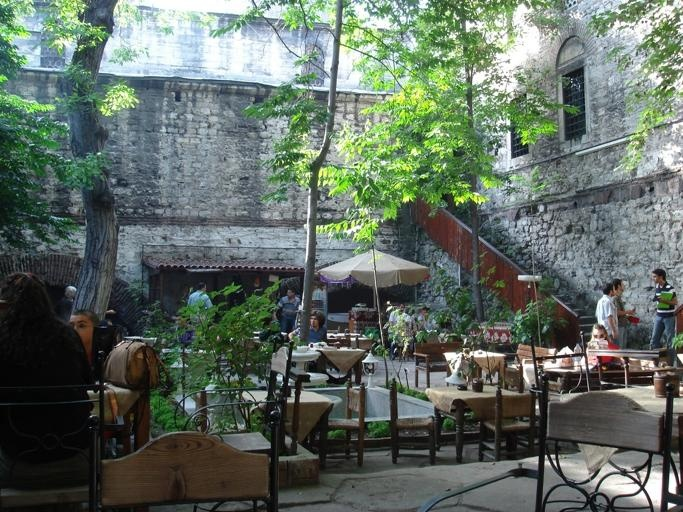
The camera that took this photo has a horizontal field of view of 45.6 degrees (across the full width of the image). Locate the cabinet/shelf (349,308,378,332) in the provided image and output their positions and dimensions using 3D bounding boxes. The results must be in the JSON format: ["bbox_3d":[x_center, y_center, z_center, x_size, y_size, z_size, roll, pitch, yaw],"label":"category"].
[{"bbox_3d":[0.587,1.603,21.414,0.627,0.654,0.670,1,-1,22],"label":"cabinet/shelf"}]

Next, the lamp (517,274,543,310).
[{"bbox_3d":[4.172,0.750,18.070,0.673,0.935,0.681,-1,0,36],"label":"lamp"}]

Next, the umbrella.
[{"bbox_3d":[0.543,0.751,17.228,1.705,1.321,1.899,4,4,38],"label":"umbrella"}]

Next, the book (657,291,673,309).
[{"bbox_3d":[5.793,0.769,14.634,0.306,0.217,0.398,7,-29,35],"label":"book"}]

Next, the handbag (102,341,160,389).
[{"bbox_3d":[-2.193,1.127,8.496,0.431,0.545,0.780,0,0,-34],"label":"handbag"}]
